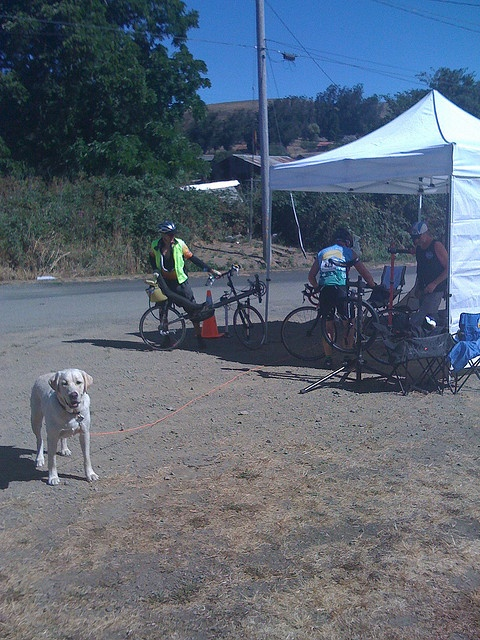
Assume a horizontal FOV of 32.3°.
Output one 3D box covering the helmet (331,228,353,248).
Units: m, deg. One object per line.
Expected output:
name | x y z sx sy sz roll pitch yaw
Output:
helmet | 1.141 -0.920 9.269 0.207 0.252 0.270 -3 3 20

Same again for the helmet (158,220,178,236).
helmet | -0.874 -1.141 10.123 0.195 0.155 0.180 20 -28 -2

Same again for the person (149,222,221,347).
person | -0.717 -0.449 10.608 0.832 1.647 0.896 -1 11 -5

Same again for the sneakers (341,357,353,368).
sneakers | 1.177 0.466 8.994 0.115 0.060 0.163 -4 6 1

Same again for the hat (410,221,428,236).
hat | 2.150 -1.069 9.844 0.175 0.175 0.335 2 12 12

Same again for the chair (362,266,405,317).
chair | 2.105 -0.416 11.451 0.490 0.695 1.192 6 10 29
